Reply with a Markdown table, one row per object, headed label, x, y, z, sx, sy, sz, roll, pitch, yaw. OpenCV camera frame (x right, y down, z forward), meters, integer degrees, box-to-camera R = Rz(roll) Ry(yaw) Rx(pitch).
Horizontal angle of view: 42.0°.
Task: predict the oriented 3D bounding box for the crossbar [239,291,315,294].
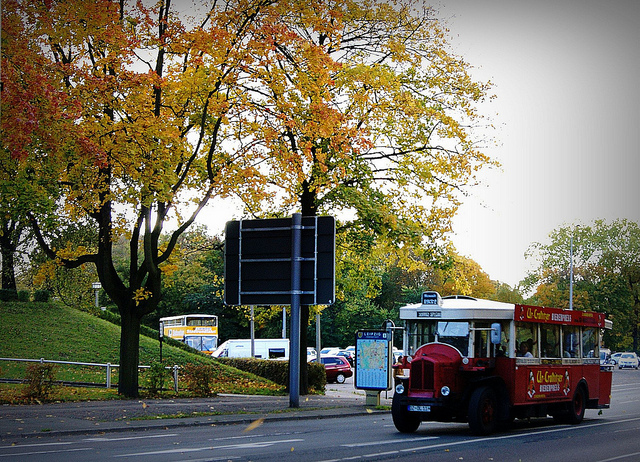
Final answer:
| label | x | y | z | sx | sy | sz | roll | pitch | yaw |
| --- | --- | --- | --- | --- | --- | --- | --- | --- | --- |
| crossbar | -1.521 | 2.257 | 30.496 | 2.617 | 0.114 | 0.175 | -1 | -12 | 9 |

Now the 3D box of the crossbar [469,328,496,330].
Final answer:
| label | x | y | z | sx | sy | sz | roll | pitch | yaw |
| --- | --- | --- | --- | --- | --- | --- | --- | --- | --- |
| crossbar | 5.076 | 3.101 | 26.477 | 0.643 | 0.054 | 0.152 | -2 | -13 | 10 |

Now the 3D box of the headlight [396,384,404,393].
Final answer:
| label | x | y | z | sx | sy | sz | roll | pitch | yaw |
| --- | --- | --- | --- | --- | --- | --- | --- | --- | --- |
| headlight | 2.532 | 4.974 | 26.333 | 0.214 | 0.165 | 0.224 | -1 | -14 | 5 |

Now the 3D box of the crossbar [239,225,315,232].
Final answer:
| label | x | y | z | sx | sy | sz | roll | pitch | yaw |
| --- | --- | --- | --- | --- | --- | --- | --- | --- | --- |
| crossbar | -1.620 | -0.083 | 30.905 | 2.781 | 0.175 | 0.226 | -2 | -12 | 13 |

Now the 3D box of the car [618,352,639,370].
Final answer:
| label | x | y | z | sx | sy | sz | roll | pitch | yaw |
| --- | --- | --- | --- | --- | --- | --- | --- | --- | --- |
| car | 30.951 | 13.010 | 83.561 | 1.694 | 1.755 | 2.529 | -1 | -12 | 10 |

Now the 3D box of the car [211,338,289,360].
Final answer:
| label | x | y | z | sx | sy | sz | roll | pitch | yaw |
| --- | --- | --- | --- | --- | --- | --- | --- | --- | --- |
| car | -5.034 | 8.777 | 62.388 | 6.018 | 2.718 | 2.366 | 2 | -7 | -5 |

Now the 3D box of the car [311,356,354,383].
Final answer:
| label | x | y | z | sx | sy | sz | roll | pitch | yaw |
| --- | --- | --- | --- | --- | --- | --- | --- | --- | --- |
| car | 1.060 | 9.569 | 56.931 | 3.778 | 1.670 | 1.899 | 3 | -7 | -6 |

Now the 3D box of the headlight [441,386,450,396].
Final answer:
| label | x | y | z | sx | sy | sz | roll | pitch | yaw |
| --- | --- | --- | --- | --- | --- | --- | --- | --- | --- |
| headlight | 3.854 | 4.918 | 25.678 | 0.230 | 0.284 | 0.130 | 0 | -11 | 7 |

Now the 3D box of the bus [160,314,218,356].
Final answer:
| label | x | y | z | sx | sy | sz | roll | pitch | yaw |
| --- | --- | --- | --- | --- | --- | --- | --- | --- | --- |
| bus | -10.549 | 8.578 | 70.397 | 3.462 | 2.839 | 2.213 | 11 | -15 | -40 |

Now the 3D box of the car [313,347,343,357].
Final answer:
| label | x | y | z | sx | sy | sz | roll | pitch | yaw |
| --- | --- | --- | --- | --- | --- | --- | --- | --- | --- |
| car | 0.339 | 10.722 | 72.630 | 2.225 | 0.801 | 1.060 | -2 | -3 | 38 |

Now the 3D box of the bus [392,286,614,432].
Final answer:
| label | x | y | z | sx | sy | sz | roll | pitch | yaw |
| --- | --- | --- | --- | --- | --- | --- | --- | --- | --- |
| bus | 6.937 | 4.662 | 28.692 | 10.076 | 4.432 | 2.744 | 10 | -14 | -36 |
